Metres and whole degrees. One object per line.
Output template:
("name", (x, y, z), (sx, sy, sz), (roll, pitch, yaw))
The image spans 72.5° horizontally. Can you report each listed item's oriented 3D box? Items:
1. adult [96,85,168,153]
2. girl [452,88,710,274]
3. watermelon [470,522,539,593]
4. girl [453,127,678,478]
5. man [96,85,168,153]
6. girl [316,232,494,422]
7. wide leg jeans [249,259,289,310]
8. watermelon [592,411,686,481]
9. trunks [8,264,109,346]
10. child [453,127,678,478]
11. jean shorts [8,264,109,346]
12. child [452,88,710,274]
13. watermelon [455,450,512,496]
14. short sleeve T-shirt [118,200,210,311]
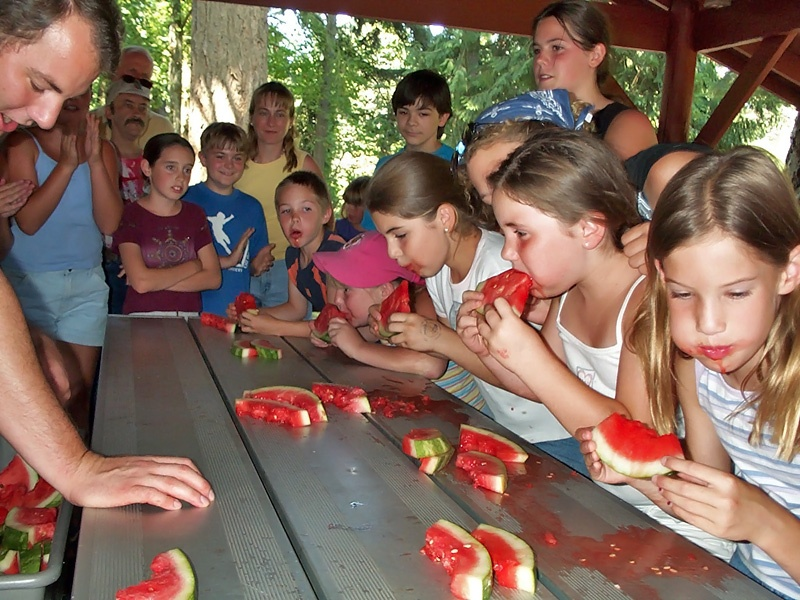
("adult", (-2.962, -2.149, 6.220), (0.741, 0.953, 0.484), (-5, -4, -35))
("girl", (0.866, -0.581, 3.186), (1.319, 0.610, 1.000), (4, 46, -9))
("watermelon", (0.269, 0.612, 1.330), (0.091, 0.046, 0.175), (-5, 14, -9))
("girl", (0.756, -0.154, 3.000), (1.157, 1.971, 1.342), (-9, 13, 3))
("man", (-2.957, -2.150, 6.224), (0.741, 0.953, 0.484), (-5, -4, -35))
("girl", (-0.113, 0.060, 3.518), (1.326, 1.034, 0.993), (14, -4, 0))
("wide leg jeans", (-1.253, -0.164, 5.223), (0.382, 0.341, 0.205), (-19, 17, -22))
("watermelon", (0.770, 0.471, 1.803), (0.263, 0.149, 0.190), (16, 25, 20))
("trunks", (-2.452, 0.017, 3.902), (0.587, 0.583, 0.336), (-5, 10, -40))
("child", (0.940, -0.187, 3.003), (1.157, 1.971, 1.342), (-9, 13, 3))
("jean shorts", (-2.452, 0.017, 3.902), (0.587, 0.583, 0.336), (-5, 10, -40))
("child", (0.979, -0.624, 3.166), (1.319, 0.610, 1.000), (4, 46, -9))
("watermelon", (0.285, 0.543, 1.761), (0.077, 0.039, 0.144), (-13, 11, -21))
("short sleeve T-shirt", (-1.937, -0.380, 4.489), (0.883, 0.987, 0.545), (-1, 5, -29))
